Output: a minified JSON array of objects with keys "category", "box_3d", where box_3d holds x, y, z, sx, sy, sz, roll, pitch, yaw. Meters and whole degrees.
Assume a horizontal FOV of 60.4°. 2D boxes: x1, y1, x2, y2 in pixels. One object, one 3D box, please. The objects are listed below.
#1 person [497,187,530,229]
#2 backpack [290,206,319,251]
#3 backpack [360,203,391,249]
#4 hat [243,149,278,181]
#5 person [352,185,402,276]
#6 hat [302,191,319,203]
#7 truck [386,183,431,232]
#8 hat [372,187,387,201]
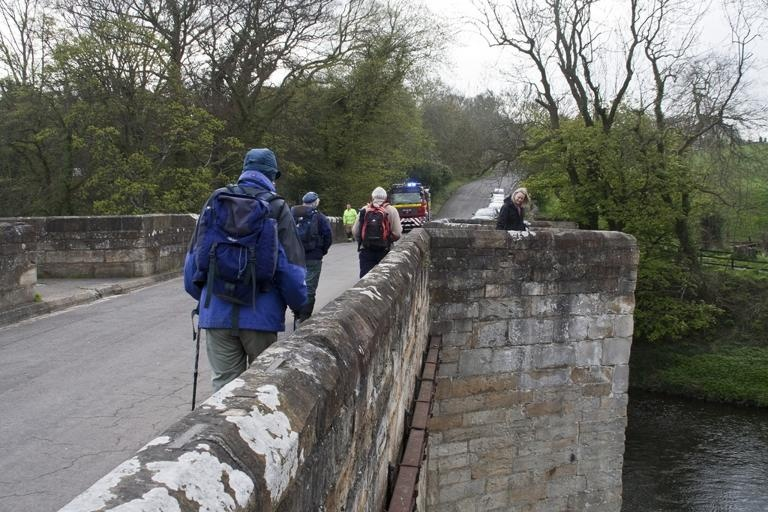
[{"category":"person","box_3d":[2.622,-0.932,13.311,0.608,0.840,0.811,2,13,9]},{"category":"backpack","box_3d":[-1.408,-0.512,12.237,0.529,0.825,0.423,6,10,39]},{"category":"backpack","box_3d":[-0.145,-0.482,12.495,0.563,0.880,0.455,-1,-16,10]},{"category":"hat","box_3d":[-1.550,-1.193,8.496,0.317,0.425,0.445,1,-18,11]},{"category":"person","box_3d":[-0.123,-0.129,12.700,0.830,2.344,0.823,4,7,10]},{"category":"hat","box_3d":[-1.393,-1.107,12.580,0.230,0.135,0.343,-2,7,-3]},{"category":"truck","box_3d":[1.226,-2.623,32.685,1.340,1.792,3.612,-2,1,4]},{"category":"hat","box_3d":[-0.089,-1.175,12.578,0.218,0.303,0.275,2,2,0]}]
